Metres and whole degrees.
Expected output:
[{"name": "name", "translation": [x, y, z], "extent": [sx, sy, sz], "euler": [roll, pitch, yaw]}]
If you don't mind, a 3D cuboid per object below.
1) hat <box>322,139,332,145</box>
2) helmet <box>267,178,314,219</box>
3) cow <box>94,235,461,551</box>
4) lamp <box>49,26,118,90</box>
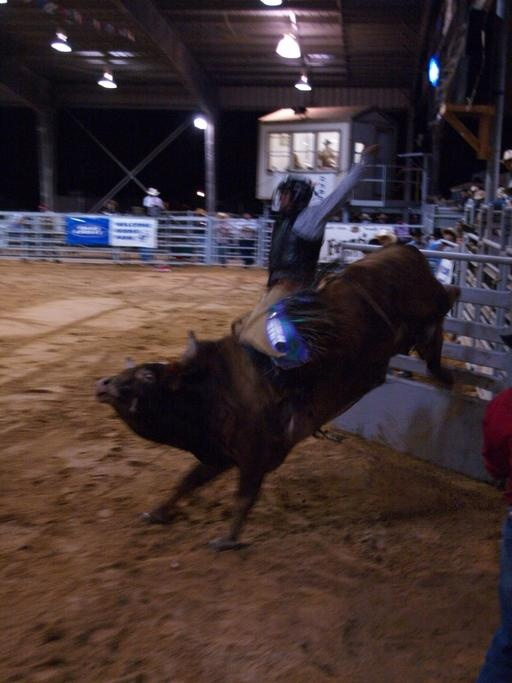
[{"name": "hat", "translation": [2.383, -6.857, 18.515], "extent": [0.285, 0.218, 0.067], "euler": [-3, -12, 24]}, {"name": "helmet", "translation": [0.149, -0.761, 2.843], "extent": [0.251, 0.210, 0.177], "euler": [7, 19, 15]}, {"name": "cow", "translation": [0.174, 0.250, 2.852], "extent": [0.541, 1.632, 1.965], "euler": [12, 12, 43]}, {"name": "lamp", "translation": [-5.739, -9.572, 18.519], "extent": [1.722, 1.259, 5.667], "euler": [1, 8, -14]}]
